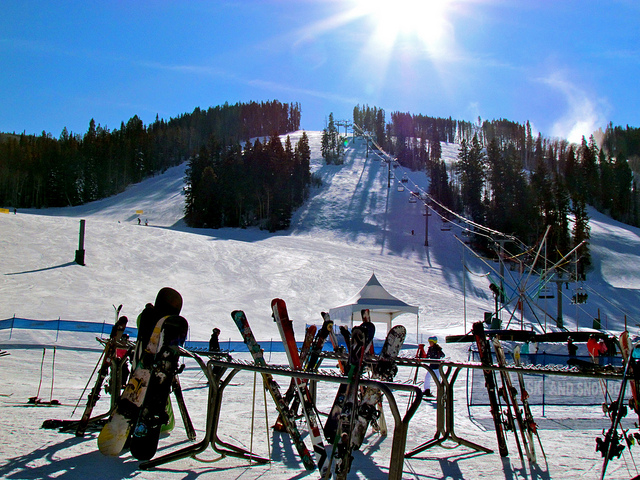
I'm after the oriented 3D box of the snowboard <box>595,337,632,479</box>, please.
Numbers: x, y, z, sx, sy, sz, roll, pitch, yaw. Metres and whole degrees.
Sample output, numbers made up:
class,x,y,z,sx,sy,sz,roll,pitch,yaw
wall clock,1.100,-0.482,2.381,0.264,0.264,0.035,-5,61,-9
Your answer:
class,x,y,z,sx,sy,sz,roll,pitch,yaw
snowboard,6.380,3.729,13.126,0.403,3.066,0.340,7,1,-32

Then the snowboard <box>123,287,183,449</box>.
class,x,y,z,sx,sy,sz,roll,pitch,yaw
snowboard,-3.208,2.573,11.667,0.519,3.752,0.636,18,2,-18

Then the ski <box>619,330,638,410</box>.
class,x,y,z,sx,sy,sz,roll,pitch,yaw
ski,5.856,2.253,11.476,0.248,1.784,0.258,-2,-7,35

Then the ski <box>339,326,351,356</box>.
class,x,y,z,sx,sy,sz,roll,pitch,yaw
ski,0.535,2.083,13.031,0.185,0.488,0.145,-9,-3,-27
